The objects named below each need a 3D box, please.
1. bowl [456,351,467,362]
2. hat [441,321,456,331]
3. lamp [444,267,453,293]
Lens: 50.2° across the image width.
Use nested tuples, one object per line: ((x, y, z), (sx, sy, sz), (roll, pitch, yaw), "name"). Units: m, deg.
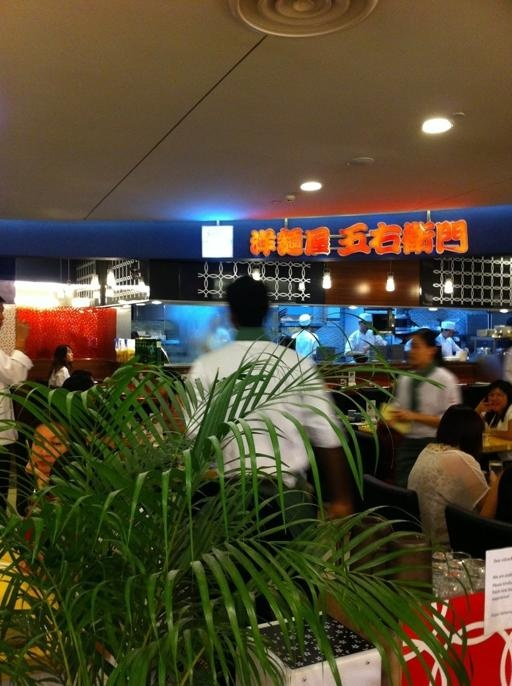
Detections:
((2.983, 0.193, 7.893), (0.139, 0.144, 0.142), (1, -2, 0), "bowl")
((3.094, -0.270, 8.697), (0.205, 0.127, 0.198), (1, 5, 10), "hat")
((2.567, -0.809, 7.220), (0.130, 0.321, 0.662), (0, 2, 20), "lamp")
